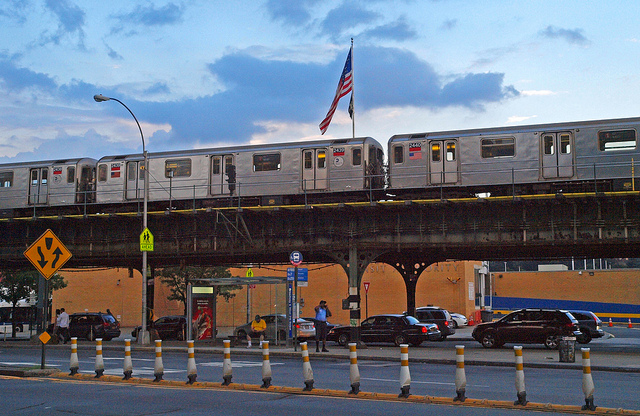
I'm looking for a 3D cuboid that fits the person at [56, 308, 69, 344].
[{"bbox_3d":[-16.150,7.411,68.991,0.621,2.207,1.196,0,-5,-12],"label":"person"}]

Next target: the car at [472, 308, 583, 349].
[{"bbox_3d":[12.019,6.999,64.083,5.431,1.787,2.349,0,-6,16],"label":"car"}]

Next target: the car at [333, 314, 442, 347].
[{"bbox_3d":[4.030,7.442,66.383,5.990,1.526,2.293,0,-5,16],"label":"car"}]

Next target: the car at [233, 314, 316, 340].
[{"bbox_3d":[-3.027,7.455,68.121,4.595,1.346,1.971,0,-5,16],"label":"car"}]
